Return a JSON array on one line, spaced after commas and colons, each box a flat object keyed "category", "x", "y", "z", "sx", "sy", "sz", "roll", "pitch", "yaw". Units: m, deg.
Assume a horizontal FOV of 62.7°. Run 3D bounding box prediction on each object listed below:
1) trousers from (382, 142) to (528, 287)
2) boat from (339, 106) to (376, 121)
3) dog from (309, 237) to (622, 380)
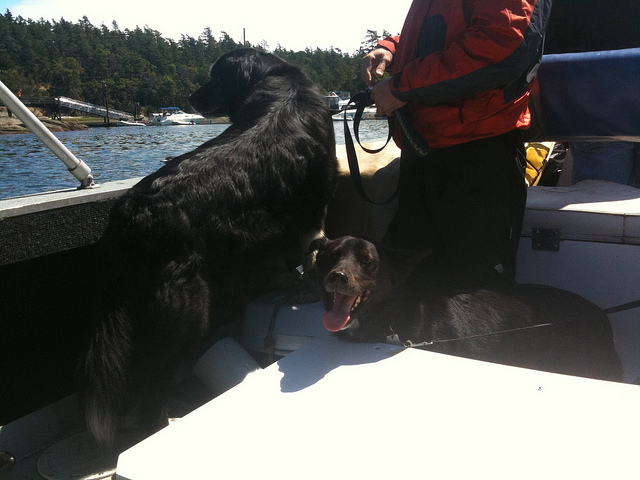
[{"category": "trousers", "x": 0.826, "y": -0.146, "z": 3.124, "sx": 0.483, "sy": 0.876, "sz": 0.644, "roll": 26, "pitch": -7, "yaw": -29}, {"category": "boat", "x": 0.246, "y": -0.815, "z": 3.345, "sx": 0.138, "sy": 0.064, "sz": 0.250, "roll": -4, "pitch": 13, "yaw": 0}, {"category": "dog", "x": 0.808, "y": 0.423, "z": 3.297, "sx": 1.872, "sy": 1.016, "sz": 0.761, "roll": 2, "pitch": -9, "yaw": -3}]
